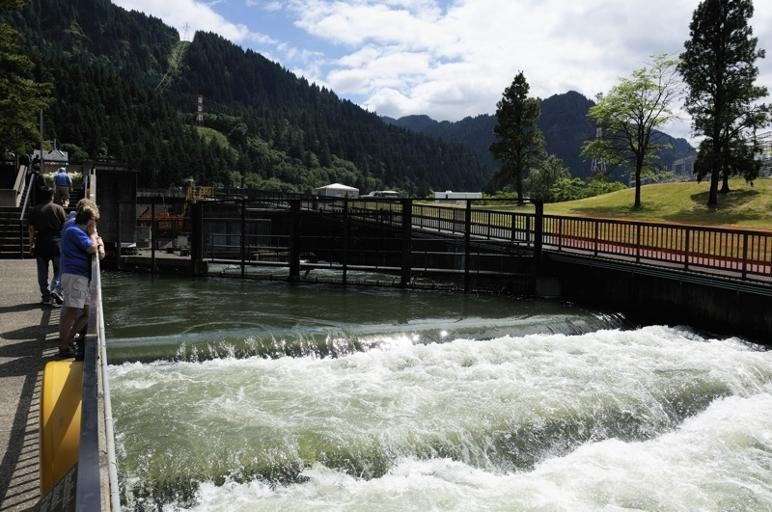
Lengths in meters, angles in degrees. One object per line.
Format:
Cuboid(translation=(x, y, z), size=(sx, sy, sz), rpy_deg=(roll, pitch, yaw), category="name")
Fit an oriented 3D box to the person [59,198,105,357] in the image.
Cuboid(translation=(-7.671, 0.545, 16.330), size=(1.034, 3.698, 0.777), rpy_deg=(-4, 11, -28), category="person")
